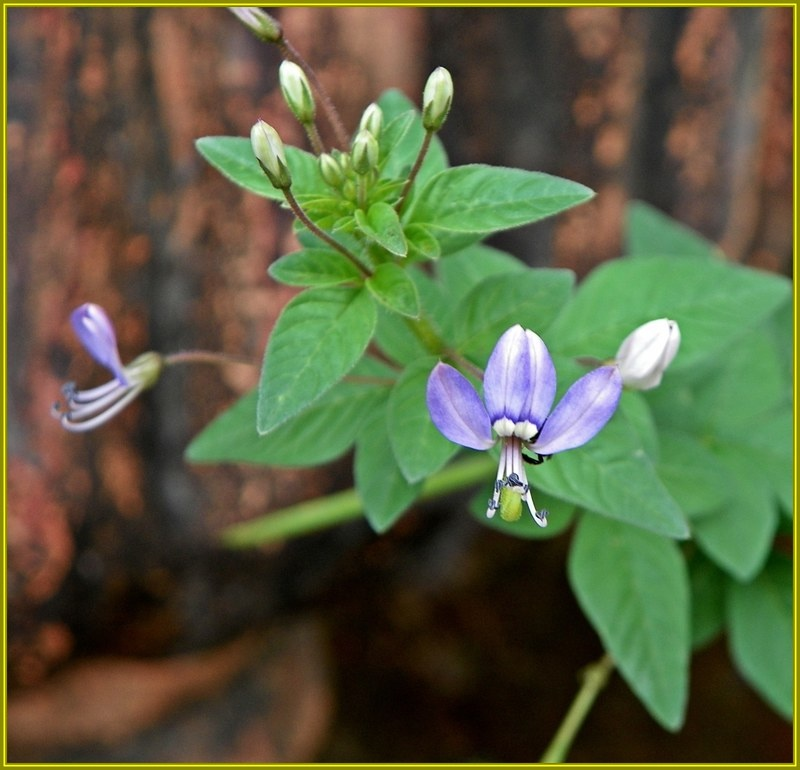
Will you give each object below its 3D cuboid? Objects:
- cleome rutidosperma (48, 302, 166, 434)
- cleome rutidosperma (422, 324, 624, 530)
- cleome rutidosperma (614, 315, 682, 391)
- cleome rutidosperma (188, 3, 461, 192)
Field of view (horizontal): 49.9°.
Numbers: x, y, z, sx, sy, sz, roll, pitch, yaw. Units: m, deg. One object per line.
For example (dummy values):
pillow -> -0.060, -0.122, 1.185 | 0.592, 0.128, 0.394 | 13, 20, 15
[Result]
cleome rutidosperma -> -0.829, -0.059, 2.397 | 0.264, 0.418, 0.105 | -2, 42, -16
cleome rutidosperma -> 0.282, 0.136, 2.121 | 0.534, 0.446, 0.401 | -21, 18, -38
cleome rutidosperma -> 0.677, -0.066, 2.406 | 0.138, 0.263, 0.152 | -20, 26, -30
cleome rutidosperma -> -0.158, -0.871, 2.553 | 0.692, 0.539, 0.907 | -3, 24, 11
